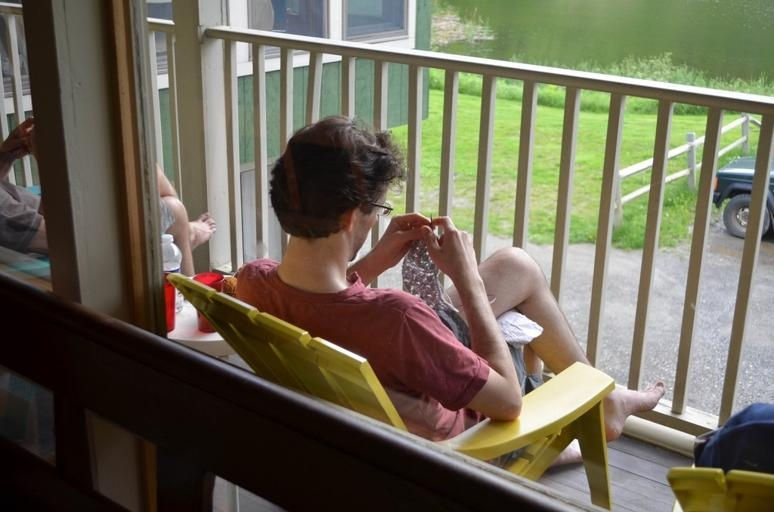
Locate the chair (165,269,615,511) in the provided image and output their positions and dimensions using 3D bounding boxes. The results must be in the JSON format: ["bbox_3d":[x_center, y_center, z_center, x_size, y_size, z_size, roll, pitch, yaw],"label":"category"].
[{"bbox_3d":[0.060,0.295,1.353,0.505,0.471,0.702,24,30,35],"label":"chair"}]

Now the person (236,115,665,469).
[{"bbox_3d":[0.232,0.040,1.761,1.096,0.904,0.707,-17,18,-38],"label":"person"}]
